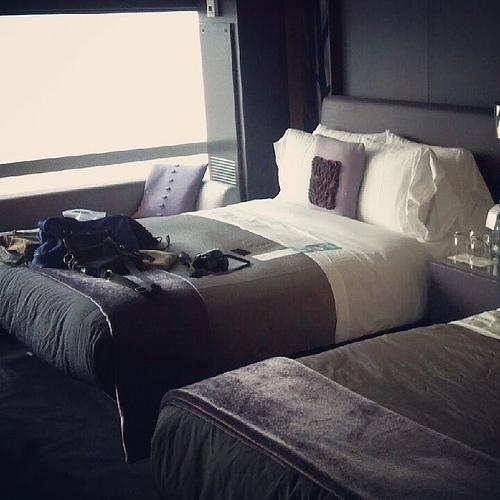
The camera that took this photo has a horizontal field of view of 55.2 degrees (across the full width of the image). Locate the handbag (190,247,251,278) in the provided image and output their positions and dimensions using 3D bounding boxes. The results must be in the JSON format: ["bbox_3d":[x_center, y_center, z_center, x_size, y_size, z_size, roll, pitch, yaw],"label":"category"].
[{"bbox_3d":[-0.156,0.061,2.257,0.208,0.111,0.149,-14,7,-15],"label":"handbag"}]

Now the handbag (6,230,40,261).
[{"bbox_3d":[-1.252,-0.050,2.629,0.195,0.082,0.207,18,30,26],"label":"handbag"}]

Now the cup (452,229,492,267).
[{"bbox_3d":[1.119,0.000,2.381,0.137,0.169,0.231,-6,9,-35],"label":"cup"}]

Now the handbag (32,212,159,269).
[{"bbox_3d":[-0.850,-0.111,2.402,0.414,0.175,0.322,3,9,40],"label":"handbag"}]
